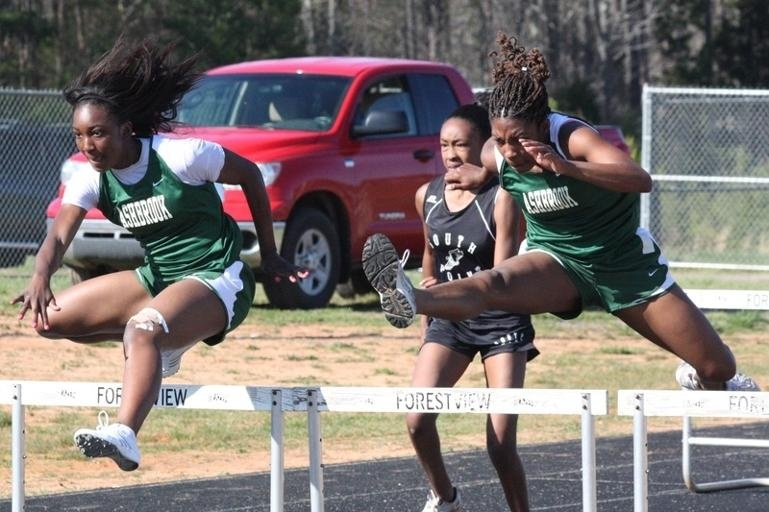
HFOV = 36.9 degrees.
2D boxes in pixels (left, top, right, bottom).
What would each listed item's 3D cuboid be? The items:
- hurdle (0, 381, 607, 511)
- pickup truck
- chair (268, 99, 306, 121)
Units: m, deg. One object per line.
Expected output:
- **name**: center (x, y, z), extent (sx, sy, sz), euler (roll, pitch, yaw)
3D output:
- **hurdle**: center (-0.554, 1.257, 7.540), extent (3.938, 0.939, 0.416), euler (1, 8, 10)
- **pickup truck**: center (-0.809, -0.923, 14.879), extent (6.633, 2.507, 3.178), euler (-4, 4, -43)
- **chair**: center (-1.218, -1.739, 13.912), extent (0.433, 0.234, 0.292), euler (2, 2, 0)
